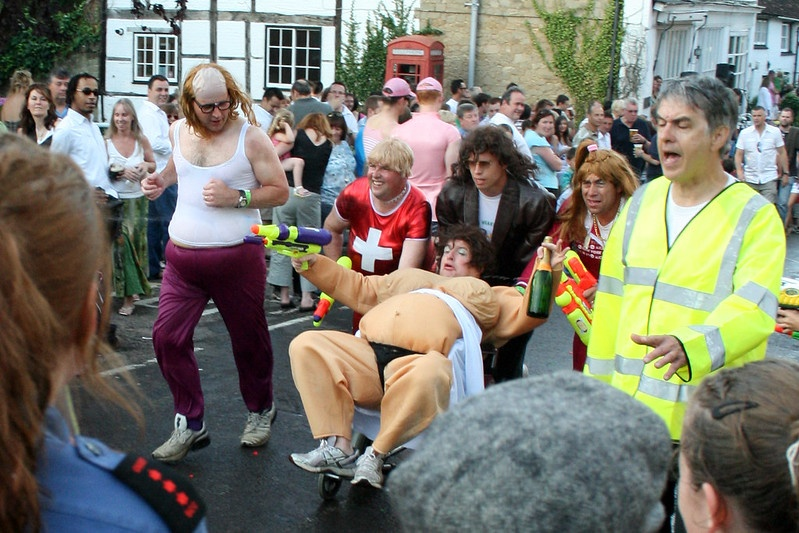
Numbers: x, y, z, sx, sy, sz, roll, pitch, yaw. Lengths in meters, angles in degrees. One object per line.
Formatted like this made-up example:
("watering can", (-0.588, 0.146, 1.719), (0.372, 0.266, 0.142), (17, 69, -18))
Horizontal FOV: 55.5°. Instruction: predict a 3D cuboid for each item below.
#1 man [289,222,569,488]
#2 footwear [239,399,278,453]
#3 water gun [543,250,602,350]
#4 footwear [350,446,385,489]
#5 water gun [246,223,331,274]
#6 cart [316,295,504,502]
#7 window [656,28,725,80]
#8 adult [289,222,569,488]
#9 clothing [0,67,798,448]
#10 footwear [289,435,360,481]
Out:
("man", (0.170, 0.468, 4.485), (1.313, 0.919, 1.527), (1, 15, 29))
("footwear", (-0.911, 1.051, 4.915), (0.130, 0.162, 0.375), (1, 36, 15))
("water gun", (1.056, 0.205, 4.512), (0.125, 0.458, 0.409), (-33, 6, 42))
("footwear", (-0.166, 1.104, 4.145), (0.111, 0.128, 0.272), (1, -6, 6))
("water gun", (-0.649, -0.123, 4.377), (0.503, 0.289, 0.125), (5, 29, -34))
("cart", (0.219, 0.713, 4.485), (0.787, 1.383, 1.313), (3, 36, 20))
("window", (7.523, -5.433, 19.463), (2.348, 1.797, 0.372), (-5, 11, -18))
("adult", (0.175, 0.512, 4.548), (1.313, 0.919, 1.527), (1, 15, 29))
("clothing", (-0.242, 0.019, 4.310), (4.022, 2.269, 1.780), (-1, 8, 11))
("footwear", (-0.387, 1.053, 4.146), (0.422, 0.253, 0.164), (8, -10, -10))
